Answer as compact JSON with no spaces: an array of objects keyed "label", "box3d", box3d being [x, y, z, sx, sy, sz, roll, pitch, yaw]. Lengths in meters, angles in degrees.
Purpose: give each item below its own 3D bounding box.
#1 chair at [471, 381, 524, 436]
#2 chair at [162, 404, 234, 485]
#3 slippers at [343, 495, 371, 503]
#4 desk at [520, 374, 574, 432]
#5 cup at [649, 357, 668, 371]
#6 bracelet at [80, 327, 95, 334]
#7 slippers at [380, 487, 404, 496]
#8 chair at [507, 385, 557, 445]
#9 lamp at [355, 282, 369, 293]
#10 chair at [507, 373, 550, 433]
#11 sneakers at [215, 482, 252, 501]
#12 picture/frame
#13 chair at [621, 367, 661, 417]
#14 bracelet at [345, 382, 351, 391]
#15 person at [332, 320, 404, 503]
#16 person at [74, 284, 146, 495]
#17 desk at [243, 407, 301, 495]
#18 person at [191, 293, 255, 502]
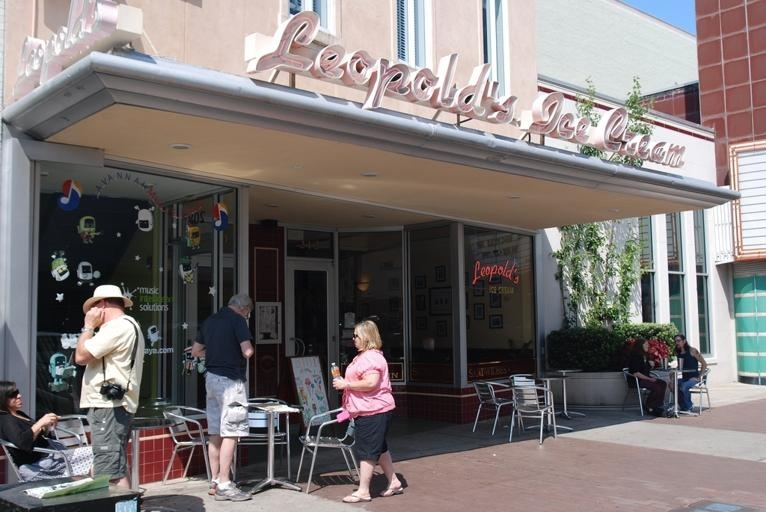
[{"label":"chair","box3d":[2.026,2.646,11.975,0.726,0.888,0.771,-5,-7,42]},{"label":"chair","box3d":[-2.558,2.376,8.779,0.910,1.201,0.935,-3,-8,15]},{"label":"slippers","box3d":[-0.297,2.840,7.966,0.254,0.057,0.115,4,-9,-2]},{"label":"desk","box3d":[2.516,2.488,11.140,0.613,0.921,0.730,-31,-18,31]},{"label":"cup","box3d":[5.785,2.240,14.459,0.412,0.340,0.467,-3,-8,40]},{"label":"bracelet","box3d":[-3.019,0.754,6.954,0.142,0.061,0.138,-7,-8,37]},{"label":"slippers","box3d":[0.128,2.836,8.229,0.187,0.048,0.111,5,-10,-26]},{"label":"chair","box3d":[2.459,2.502,11.126,0.730,0.912,0.770,-3,-7,12]},{"label":"lamp","box3d":[-0.382,0.619,13.307,0.209,0.143,0.183,0,1,-28]},{"label":"chair","box3d":[2.424,2.487,11.108,0.684,0.910,0.624,7,-13,-43]},{"label":"sneakers","box3d":[-1.744,2.749,7.996,0.435,0.198,0.175,3,-5,-1]},{"label":"picture/frame","box3d":[1.500,0.880,13.022,1.877,1.599,0.978,-1,-12,-1]},{"label":"chair","box3d":[5.144,2.702,13.549,0.830,1.061,0.752,9,-15,-42]},{"label":"bracelet","box3d":[-0.398,1.536,7.988,0.074,0.068,0.073,9,-9,-41]},{"label":"person","box3d":[-0.166,1.823,8.212,0.703,2.133,0.664,-3,-12,6]},{"label":"person","box3d":[-2.770,1.305,6.925,0.614,2.019,0.439,3,-13,-21]},{"label":"desk","box3d":[-1.330,2.358,8.637,0.859,0.950,0.915,1,-2,7]},{"label":"person","box3d":[-1.852,1.655,8.152,0.757,2.414,0.371,-6,-13,23]}]
